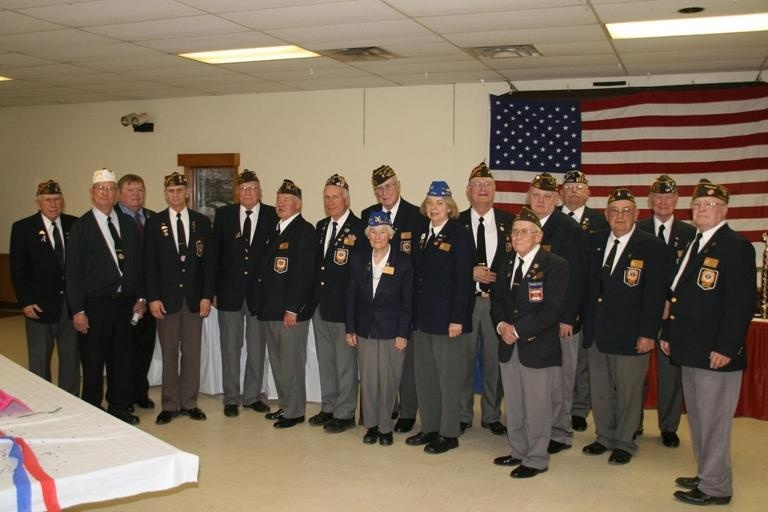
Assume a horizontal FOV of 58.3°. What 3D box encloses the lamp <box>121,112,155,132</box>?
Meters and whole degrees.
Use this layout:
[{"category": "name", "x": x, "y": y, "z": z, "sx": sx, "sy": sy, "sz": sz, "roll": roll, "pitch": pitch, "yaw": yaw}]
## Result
[{"category": "lamp", "x": -3.794, "y": -2.019, "z": 10.529, "sx": 0.379, "sy": 0.273, "sz": 0.368, "roll": 9, "pitch": 30, "yaw": 13}]
